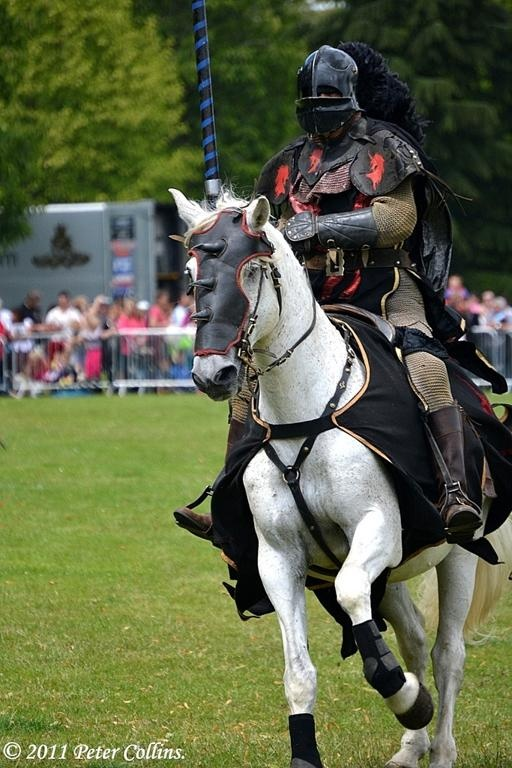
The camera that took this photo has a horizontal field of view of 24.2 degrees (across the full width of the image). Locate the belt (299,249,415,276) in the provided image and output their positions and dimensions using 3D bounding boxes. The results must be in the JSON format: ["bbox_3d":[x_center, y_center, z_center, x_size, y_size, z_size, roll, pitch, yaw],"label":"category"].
[{"bbox_3d":[0.501,-0.595,5.690,0.340,0.084,0.223,-2,0,-3],"label":"belt"}]
